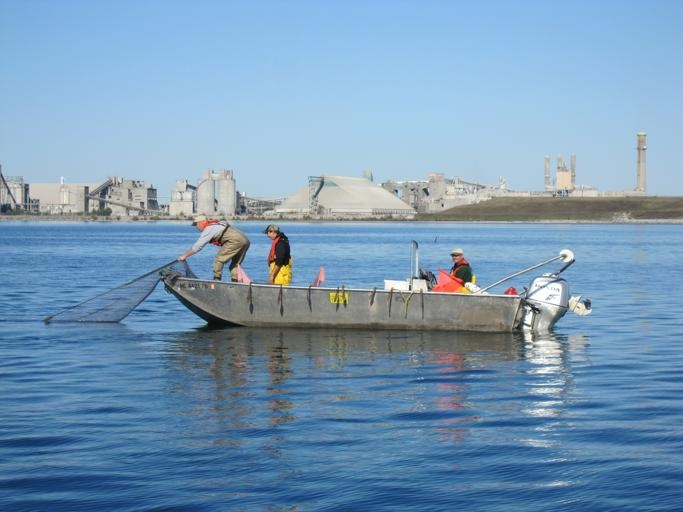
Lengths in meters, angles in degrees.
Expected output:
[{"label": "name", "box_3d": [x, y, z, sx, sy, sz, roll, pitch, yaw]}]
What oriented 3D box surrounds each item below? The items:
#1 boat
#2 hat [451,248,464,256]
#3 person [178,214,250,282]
[{"label": "boat", "box_3d": [0.907, 1.215, 33.528, 13.614, 2.247, 3.190, 1, -6, 3]}, {"label": "hat", "box_3d": [3.001, -0.099, 32.504, 0.363, 0.132, 0.426, -1, -2, 23]}, {"label": "person", "box_3d": [-3.108, -0.080, 32.371, 0.769, 1.615, 1.667, 13, 19, 37]}]
